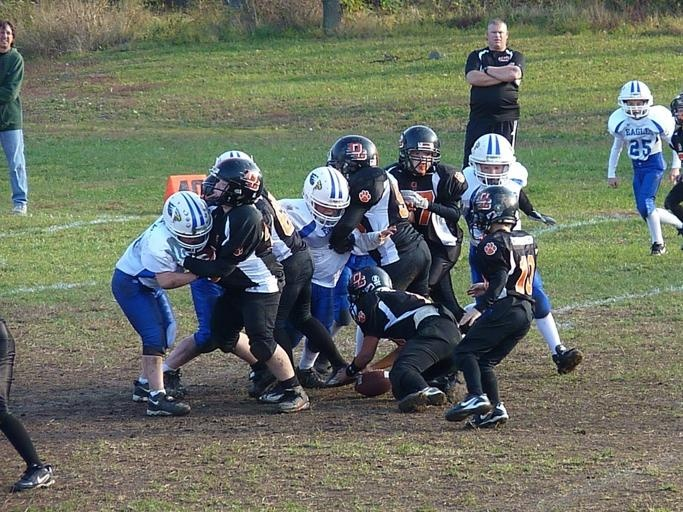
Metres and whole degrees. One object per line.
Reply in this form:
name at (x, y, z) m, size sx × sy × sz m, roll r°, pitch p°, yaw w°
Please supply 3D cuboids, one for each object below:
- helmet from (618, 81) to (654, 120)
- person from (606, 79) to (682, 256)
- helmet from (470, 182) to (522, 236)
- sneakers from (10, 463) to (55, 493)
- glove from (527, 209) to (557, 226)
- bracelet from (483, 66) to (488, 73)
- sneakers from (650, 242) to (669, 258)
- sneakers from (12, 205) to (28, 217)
helmet at (4.489, -2.417, 22.931) m, size 0.503 × 0.533 × 0.621 m, roll -1°, pitch 8°, yaw 9°
person at (4.684, -1.386, 22.663) m, size 0.889 × 2.473 × 1.532 m, roll -5°, pitch 12°, yaw -7°
helmet at (1.901, -0.616, 18.411) m, size 0.659 × 0.537 × 0.507 m, roll -7°, pitch -8°, yaw 37°
sneakers at (-3.480, 2.525, 16.982) m, size 0.525 × 0.210 × 0.224 m, roll -2°, pitch 6°, yaw -13°
glove at (2.933, -0.563, 21.853) m, size 0.482 × 0.187 × 0.168 m, roll 21°, pitch 11°, yaw -1°
bracelet at (2.175, -2.825, 22.536) m, size 0.075 × 0.086 × 0.090 m, roll 2°, pitch -17°, yaw -2°
sneakers at (4.724, -0.121, 22.259) m, size 0.128 × 0.140 × 0.333 m, roll -6°, pitch 8°, yaw 25°
sneakers at (-5.156, -0.724, 23.973) m, size 0.197 × 0.169 × 0.184 m, roll 0°, pitch -7°, yaw 0°
